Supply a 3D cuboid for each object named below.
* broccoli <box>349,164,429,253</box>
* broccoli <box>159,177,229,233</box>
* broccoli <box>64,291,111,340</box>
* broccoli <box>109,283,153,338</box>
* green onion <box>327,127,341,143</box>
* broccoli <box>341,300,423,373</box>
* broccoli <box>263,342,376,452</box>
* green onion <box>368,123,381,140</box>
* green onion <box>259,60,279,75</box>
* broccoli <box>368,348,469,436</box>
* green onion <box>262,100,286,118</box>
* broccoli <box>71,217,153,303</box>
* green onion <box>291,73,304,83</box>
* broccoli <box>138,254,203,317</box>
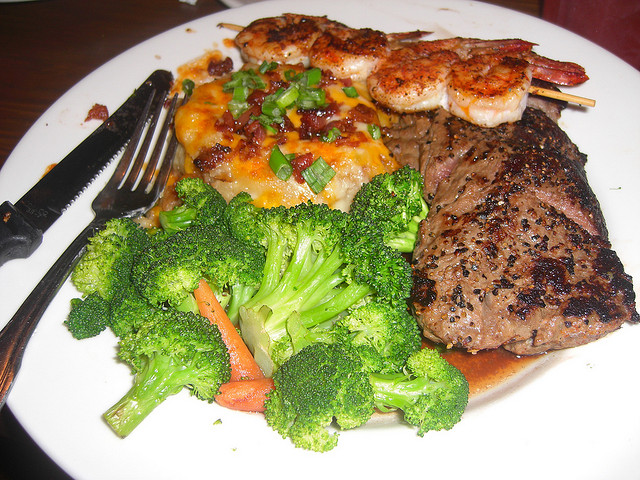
[{"bbox_3d":[0.725,-0.321,5.413,0.764,0.715,0.767,19,77,-2],"label":"broccoli"},{"bbox_3d":[-1.147,-0.256,5.224,0.531,0.483,0.567,4,82,-26],"label":"broccoli"},{"bbox_3d":[-1.936,0.637,4.798,0.383,0.123,0.361,-17,78,-6],"label":"broccoli"},{"bbox_3d":[-1.538,0.589,4.777,0.309,0.129,0.411,2,78,23],"label":"broccoli"},{"bbox_3d":[0.129,-0.964,5.288,0.134,0.063,0.093,-36,80,-9],"label":"green onion"},{"bbox_3d":[0.502,0.750,4.741,0.587,0.260,0.563,9,84,1],"label":"broccoli"},{"bbox_3d":[0.042,1.161,4.699,0.877,1.166,0.661,-3,115,-2],"label":"broccoli"},{"bbox_3d":[0.519,-1.023,5.457,0.107,0.035,0.142,-11,84,-15],"label":"green onion"},{"bbox_3d":[-0.514,-1.704,5.702,0.157,0.040,0.105,-30,73,-28],"label":"green onion"},{"bbox_3d":[0.786,1.197,4.505,0.670,0.386,0.636,-5,67,9],"label":"broccoli"},{"bbox_3d":[-0.418,-1.201,5.317,0.200,0.081,0.119,21,91,13],"label":"green onion"},{"bbox_3d":[-1.760,0.165,4.871,0.584,0.150,0.749,31,76,-21],"label":"broccoli"},{"bbox_3d":[-0.210,-1.548,5.526,0.121,0.033,0.062,-37,68,32],"label":"green onion"},{"bbox_3d":[-1.210,0.333,4.698,0.400,0.223,0.468,35,78,7],"label":"broccoli"}]
